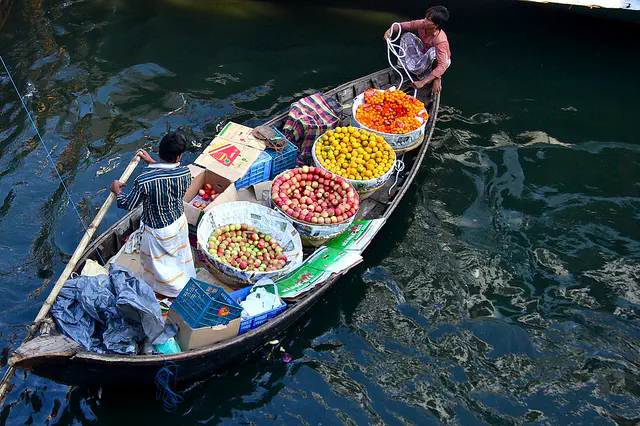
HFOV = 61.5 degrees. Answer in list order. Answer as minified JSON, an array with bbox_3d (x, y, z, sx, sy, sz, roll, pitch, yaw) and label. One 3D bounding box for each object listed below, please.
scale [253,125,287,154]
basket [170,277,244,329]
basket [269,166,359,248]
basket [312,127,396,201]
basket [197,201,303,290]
[{"bbox_3d":[-1.274,-1.901,13.536,0.576,0.194,0.771,-26,63,-41],"label":"scale"},{"bbox_3d":[-2.283,1.920,11.255,0.696,1.132,1.118,-52,27,5],"label":"basket"},{"bbox_3d":[-0.080,-0.438,12.991,1.981,1.110,1.968,21,41,9],"label":"basket"},{"bbox_3d":[0.928,-1.408,13.615,1.953,1.274,1.948,25,41,11],"label":"basket"},{"bbox_3d":[-1.637,0.647,12.605,1.915,2.383,2.176,-5,26,4],"label":"basket"}]
